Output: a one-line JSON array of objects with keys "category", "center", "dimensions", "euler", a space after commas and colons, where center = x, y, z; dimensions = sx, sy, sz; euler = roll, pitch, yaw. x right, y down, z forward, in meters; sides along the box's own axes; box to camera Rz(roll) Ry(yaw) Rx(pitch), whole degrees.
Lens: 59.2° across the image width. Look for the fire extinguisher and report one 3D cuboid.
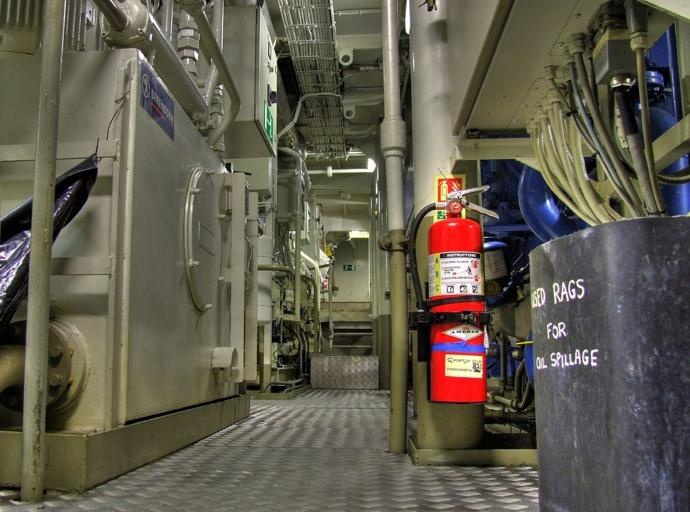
[{"category": "fire extinguisher", "center": [0.487, 0.177, 2.798], "dimensions": [0.340, 0.953, 0.347], "euler": [0, -7, 7]}]
